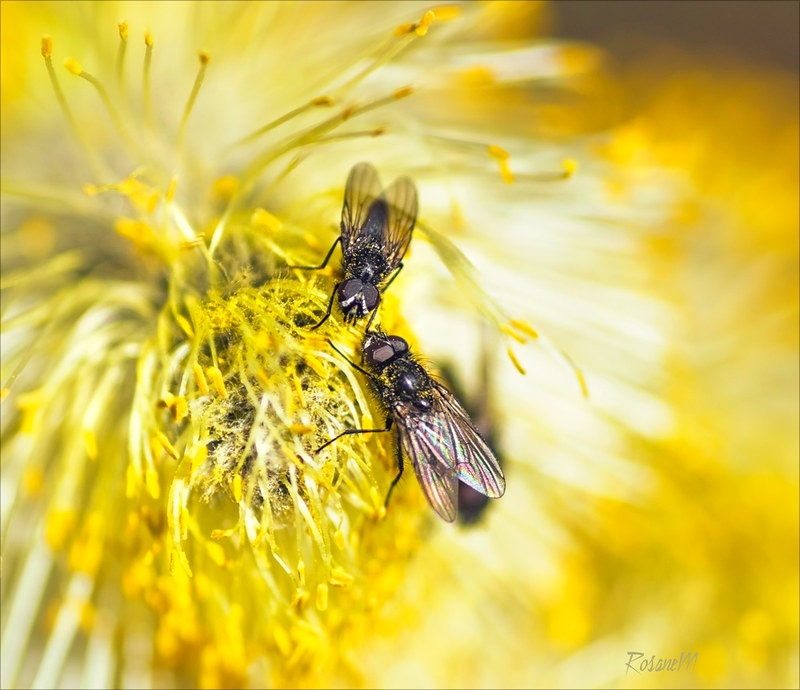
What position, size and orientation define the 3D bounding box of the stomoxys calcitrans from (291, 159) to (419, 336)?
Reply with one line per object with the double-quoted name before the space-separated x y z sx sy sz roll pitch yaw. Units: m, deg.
"stomoxys calcitrans" -0.072 -0.205 1.689 0.238 0.092 0.313 18 96 -13
